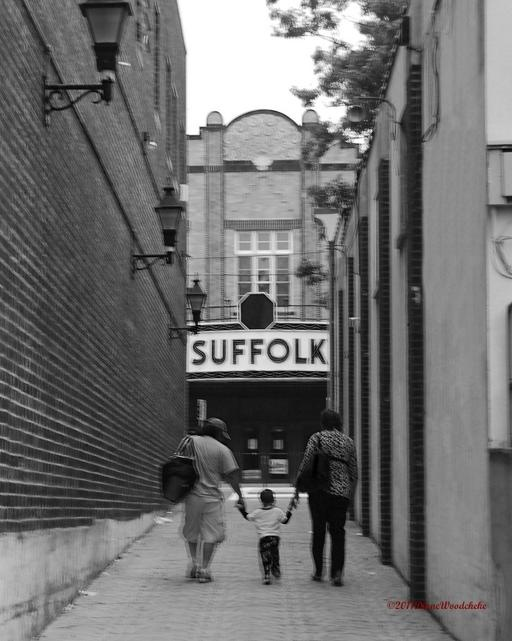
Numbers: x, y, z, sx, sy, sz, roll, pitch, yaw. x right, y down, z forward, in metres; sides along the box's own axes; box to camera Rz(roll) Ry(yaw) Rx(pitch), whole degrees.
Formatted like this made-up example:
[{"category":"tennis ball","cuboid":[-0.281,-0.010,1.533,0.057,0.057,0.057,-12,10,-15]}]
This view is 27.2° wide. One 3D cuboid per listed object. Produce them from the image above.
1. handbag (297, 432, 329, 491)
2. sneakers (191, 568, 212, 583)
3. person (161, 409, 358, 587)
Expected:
[{"category":"handbag","cuboid":[0.546,1.252,9.828,0.232,0.726,0.561,3,0,4]},{"category":"sneakers","cuboid":[-0.518,2.422,10.019,0.109,0.098,0.151,10,-9,-35]},{"category":"person","cuboid":[0.015,1.737,10.206,1.865,1.615,0.835,-3,-6,7]}]
